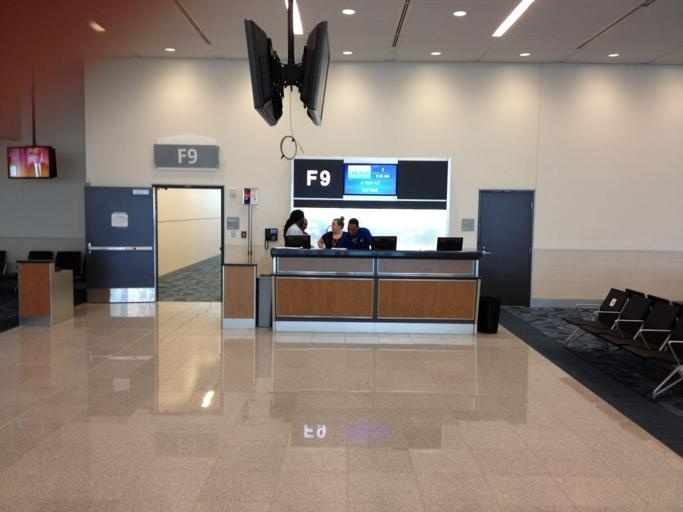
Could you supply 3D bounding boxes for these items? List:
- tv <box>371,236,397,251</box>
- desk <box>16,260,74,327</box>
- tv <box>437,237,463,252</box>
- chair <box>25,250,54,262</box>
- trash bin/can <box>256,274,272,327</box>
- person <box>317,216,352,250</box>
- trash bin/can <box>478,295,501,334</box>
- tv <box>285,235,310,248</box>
[{"bbox_3d":[0.731,-0.222,8.872,0.308,0.318,0.262,2,2,4],"label":"tv"},{"bbox_3d":[-5.087,0.674,8.834,0.554,1.099,1.060,0,2,-6],"label":"desk"},{"bbox_3d":[1.867,-0.206,8.922,0.305,0.311,0.259,3,2,8],"label":"tv"},{"bbox_3d":[-6.344,-0.006,10.864,0.250,0.197,0.252,2,8,-4],"label":"chair"},{"bbox_3d":[-1.354,0.801,8.953,0.276,0.859,0.457,-1,12,-10],"label":"trash bin/can"},{"bbox_3d":[-0.134,-0.338,9.745,0.608,0.828,0.439,11,12,32],"label":"person"},{"bbox_3d":[2.521,1.020,8.883,0.343,0.600,0.292,4,12,16],"label":"trash bin/can"},{"bbox_3d":[-0.766,-0.247,9.049,0.399,0.218,0.276,1,-1,3],"label":"tv"}]
